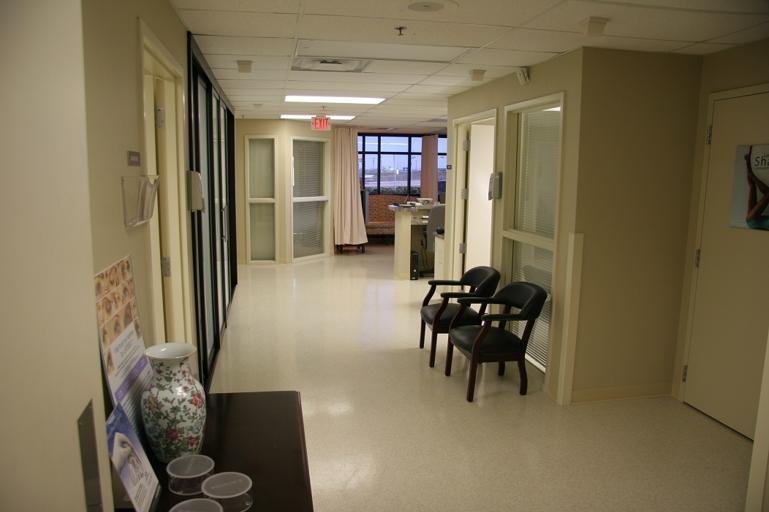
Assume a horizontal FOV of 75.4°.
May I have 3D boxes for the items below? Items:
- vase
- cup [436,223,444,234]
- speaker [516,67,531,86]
[{"bbox_3d":[-0.746,0.530,1.808,0.212,0.387,0.255,-4,12,-21],"label":"vase"},{"bbox_3d":[0.908,-0.437,7.946,0.093,0.139,0.190,-2,12,-11],"label":"cup"},{"bbox_3d":[1.247,-1.611,4.490,0.126,0.134,0.035,-12,7,-27],"label":"speaker"}]
